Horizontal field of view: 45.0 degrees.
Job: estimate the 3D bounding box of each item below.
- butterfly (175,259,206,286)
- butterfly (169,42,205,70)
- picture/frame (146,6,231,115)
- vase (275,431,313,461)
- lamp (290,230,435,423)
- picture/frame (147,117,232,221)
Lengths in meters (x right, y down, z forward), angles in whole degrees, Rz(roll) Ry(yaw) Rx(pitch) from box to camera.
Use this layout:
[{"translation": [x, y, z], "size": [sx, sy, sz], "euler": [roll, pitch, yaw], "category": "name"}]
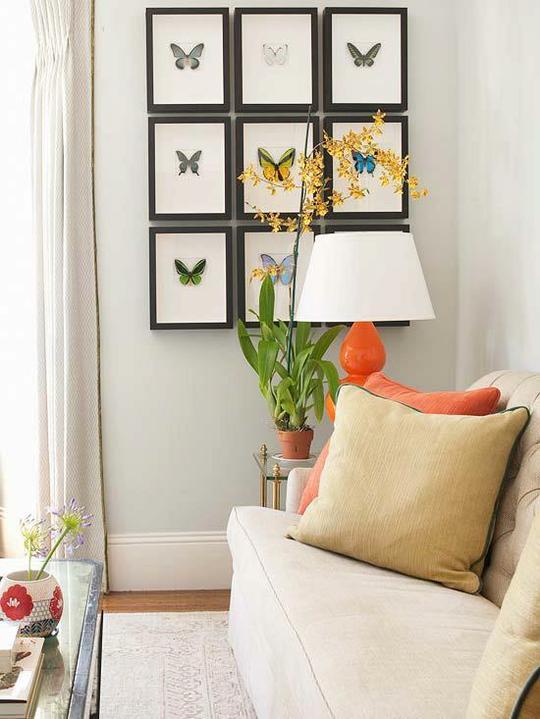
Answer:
[{"translation": [-0.302, -0.335, 2.430], "size": [0.077, 0.091, 0.015], "euler": [0, 8, -2], "category": "butterfly"}, {"translation": [-0.309, -1.128, 2.390], "size": [0.084, 0.079, 0.030], "euler": [-1, 1, -14], "category": "butterfly"}, {"translation": [-0.310, -1.119, 2.386], "size": [0.311, 0.459, 0.054], "euler": [0, 3, -4], "category": "picture/frame"}, {"translation": [0.083, 0.267, 2.096], "size": [0.088, 0.086, 0.096], "euler": [0, -5, -3], "category": "vase"}, {"translation": [0.244, -0.172, 1.804], "size": [0.262, 0.356, 0.265], "euler": [0, 3, 39], "category": "lamp"}, {"translation": [-0.307, -0.725, 2.411], "size": [0.305, 0.455, 0.031], "euler": [0, 3, -3], "category": "picture/frame"}]
